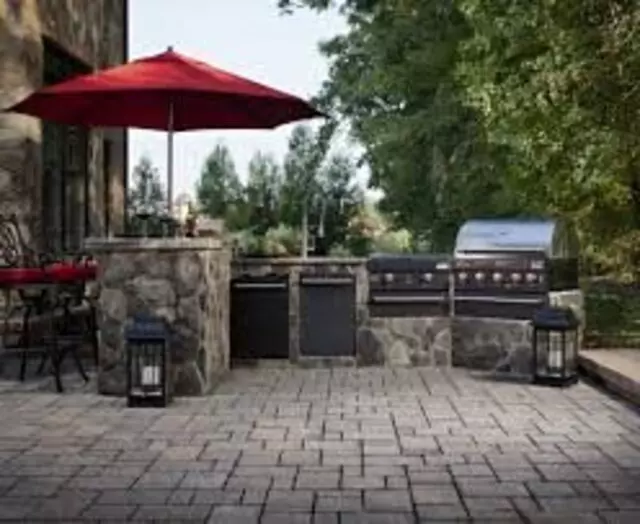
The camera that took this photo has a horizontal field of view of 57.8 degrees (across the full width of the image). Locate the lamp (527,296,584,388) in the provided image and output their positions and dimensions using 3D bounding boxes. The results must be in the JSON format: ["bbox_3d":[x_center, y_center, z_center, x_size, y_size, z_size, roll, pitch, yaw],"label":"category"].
[{"bbox_3d":[2.040,0.716,5.047,0.367,0.654,0.525,2,4,34],"label":"lamp"}]

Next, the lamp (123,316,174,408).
[{"bbox_3d":[-1.301,0.752,4.410,0.327,0.611,0.332,0,-3,-1],"label":"lamp"}]

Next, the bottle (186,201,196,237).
[{"bbox_3d":[-1.156,-0.383,5.157,0.093,0.314,0.297,-1,4,-13],"label":"bottle"}]

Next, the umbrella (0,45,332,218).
[{"bbox_3d":[-1.440,-1.188,5.511,2.444,1.457,2.260,1,4,24],"label":"umbrella"}]
